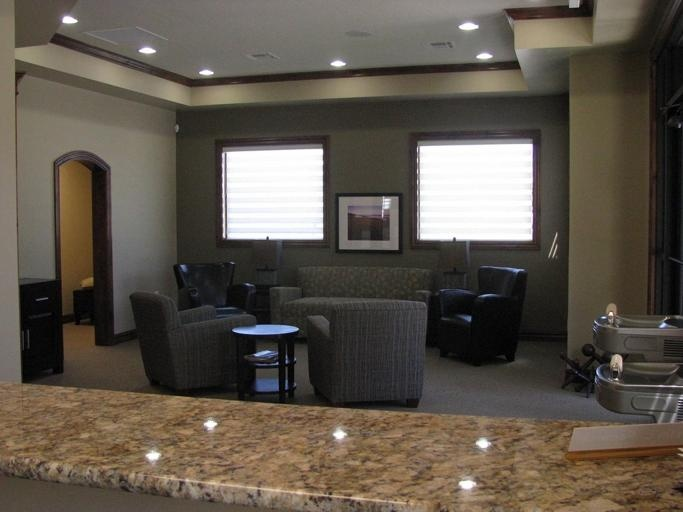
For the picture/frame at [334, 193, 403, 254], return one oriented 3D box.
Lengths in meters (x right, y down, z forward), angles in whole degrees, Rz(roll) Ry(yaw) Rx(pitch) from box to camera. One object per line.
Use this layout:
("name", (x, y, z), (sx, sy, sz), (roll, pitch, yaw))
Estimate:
("picture/frame", (0.401, -0.468, 7.860), (0.816, 0.715, 0.063), (2, 1, 8))
